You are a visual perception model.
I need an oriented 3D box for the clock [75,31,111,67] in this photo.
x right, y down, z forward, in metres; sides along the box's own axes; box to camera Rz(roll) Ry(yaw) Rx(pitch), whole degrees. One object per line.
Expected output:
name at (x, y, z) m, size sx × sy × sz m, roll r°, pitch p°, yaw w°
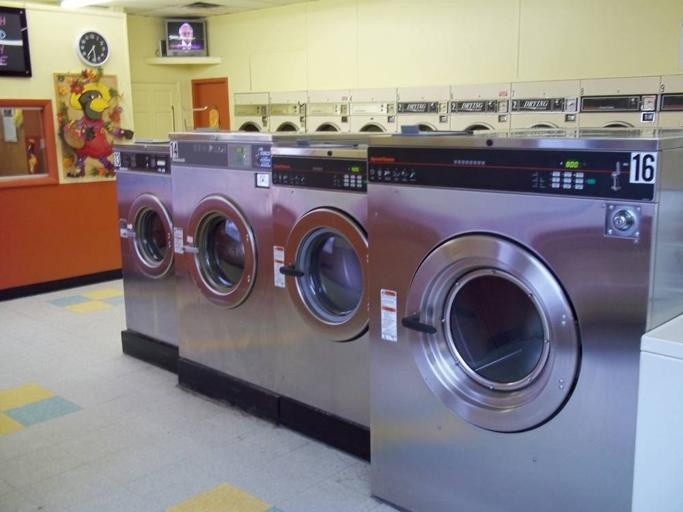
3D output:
clock at (-2.883, -2.421, 5.507) m, size 0.045 × 0.395 × 0.374 m, roll 18°, pitch 24°, yaw 36°

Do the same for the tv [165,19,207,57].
tv at (-2.536, -3.552, 7.681) m, size 0.536 × 0.516 × 0.308 m, roll -2°, pitch 6°, yaw -15°
